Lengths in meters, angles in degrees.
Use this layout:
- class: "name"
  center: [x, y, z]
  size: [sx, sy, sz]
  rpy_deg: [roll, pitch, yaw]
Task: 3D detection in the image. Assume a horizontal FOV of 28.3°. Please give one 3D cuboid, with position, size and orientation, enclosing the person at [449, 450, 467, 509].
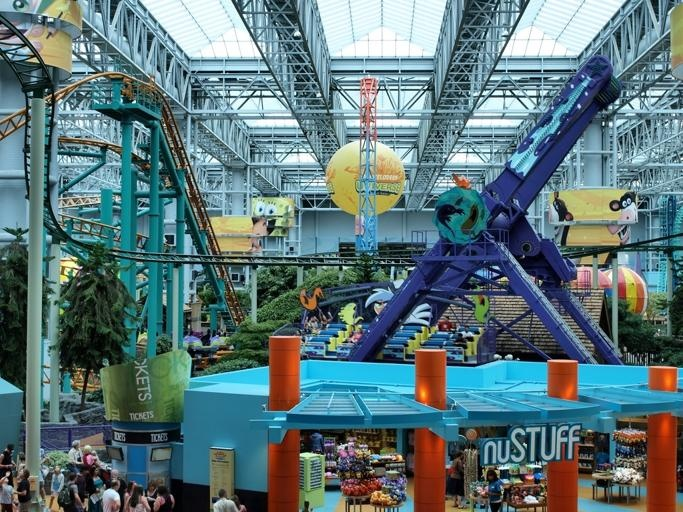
- class: "person"
  center: [4.176, 8.101, 48.549]
  size: [0.516, 1.993, 0.569]
  rpy_deg: [-2, -10, 2]

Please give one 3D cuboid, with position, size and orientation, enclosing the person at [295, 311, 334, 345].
- class: "person"
  center: [-1.124, 3.191, 58.700]
  size: [0.942, 0.557, 1.853]
  rpy_deg: [16, 12, 9]

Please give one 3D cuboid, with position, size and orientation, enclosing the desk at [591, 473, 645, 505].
- class: "desk"
  center: [9.939, 8.475, 48.928]
  size: [1.871, 1.137, 1.416]
  rpy_deg: [-1, -11, -7]
